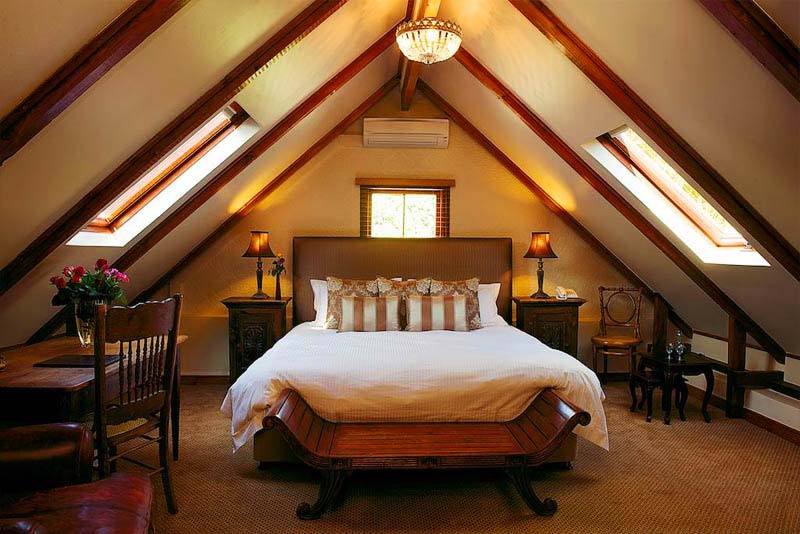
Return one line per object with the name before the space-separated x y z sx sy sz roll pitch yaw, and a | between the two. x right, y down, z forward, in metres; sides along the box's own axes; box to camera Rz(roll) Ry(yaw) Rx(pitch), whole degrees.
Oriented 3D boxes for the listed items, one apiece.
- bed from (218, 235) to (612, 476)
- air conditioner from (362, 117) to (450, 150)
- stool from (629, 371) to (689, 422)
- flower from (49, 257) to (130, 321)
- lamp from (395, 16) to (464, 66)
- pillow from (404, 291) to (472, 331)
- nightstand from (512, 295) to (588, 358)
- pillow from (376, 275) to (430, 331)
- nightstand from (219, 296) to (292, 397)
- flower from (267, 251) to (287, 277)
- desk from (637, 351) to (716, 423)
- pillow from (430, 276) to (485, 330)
bed | 0.114 0.754 6.225 2.318 1.344 2.379 0 0 1
air conditioner | 0.072 -1.478 7.283 0.971 0.323 0.109 -1 13 -5
stool | 2.476 1.181 6.320 0.541 0.491 0.433 1 -7 -6
flower | -2.350 0.139 5.013 0.537 0.512 0.554 0 3 41
lamp | 0.248 -1.861 5.347 0.624 0.344 0.660 -1 2 2
pillow | 0.364 0.455 6.428 0.535 0.340 0.151 -2 -14 -3
nightstand | 1.600 0.559 7.226 0.700 0.932 0.594 -1 0 -4
pillow | 0.044 0.338 6.598 0.478 0.525 0.151 1 -23 -12
nightstand | -1.306 0.816 6.985 0.845 1.162 0.751 1 3 -2
flower | -1.348 -0.039 7.107 0.200 0.272 0.206 5 -7 -31
desk | 2.601 1.058 6.329 0.554 0.745 0.861 2 -3 -3
pillow | 0.589 0.389 6.694 0.480 0.488 0.150 2 -16 -26
